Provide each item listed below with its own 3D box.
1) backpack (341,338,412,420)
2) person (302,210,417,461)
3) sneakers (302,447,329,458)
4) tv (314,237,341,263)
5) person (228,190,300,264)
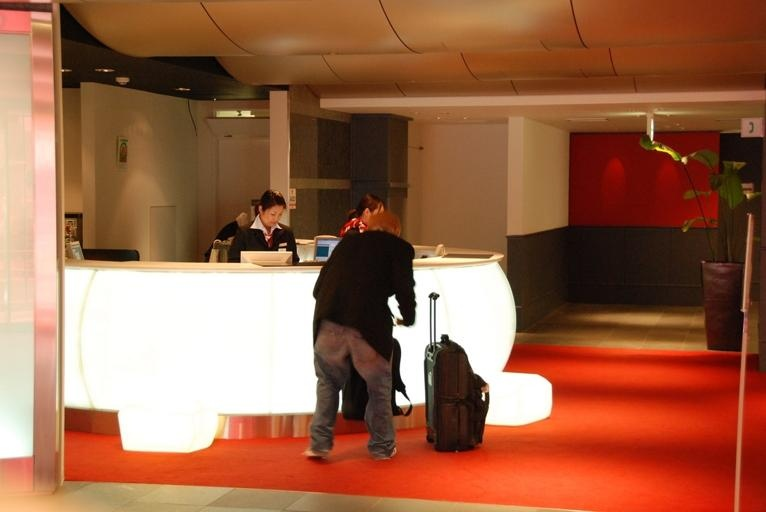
[{"bbox_3d":[-0.057,1.042,5.717,0.654,0.780,0.452,4,19,9],"label":"backpack"},{"bbox_3d":[-0.229,0.668,5.487,0.770,2.078,0.432,0,2,-6],"label":"person"},{"bbox_3d":[-0.557,1.650,5.588,0.150,0.064,0.098,-2,-2,7],"label":"sneakers"},{"bbox_3d":[-0.634,-0.100,7.306,0.399,0.390,0.233,2,1,-4],"label":"tv"},{"bbox_3d":[-1.268,-0.327,7.103,0.762,0.752,0.617,-1,3,-24],"label":"person"}]
